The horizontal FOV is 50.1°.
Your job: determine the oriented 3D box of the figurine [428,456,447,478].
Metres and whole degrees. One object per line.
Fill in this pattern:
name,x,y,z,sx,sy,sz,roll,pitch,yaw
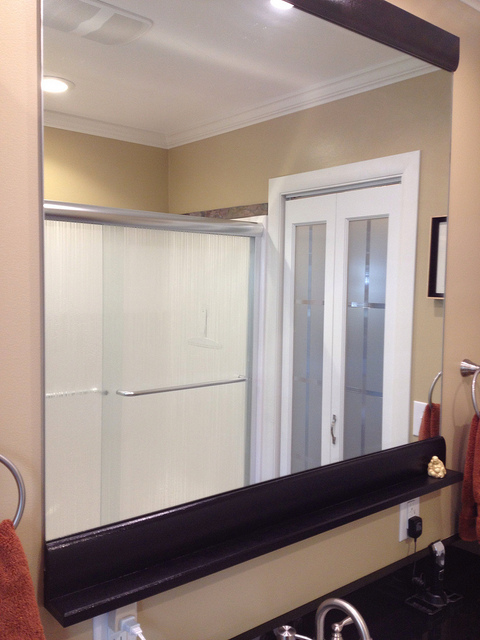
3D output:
figurine,0.511,0.385,1.342,0.042,0.048,0.049,1,20,4

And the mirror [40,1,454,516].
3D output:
mirror,0.073,-0.148,0.990,0.911,0.940,0.110,1,9,-37
